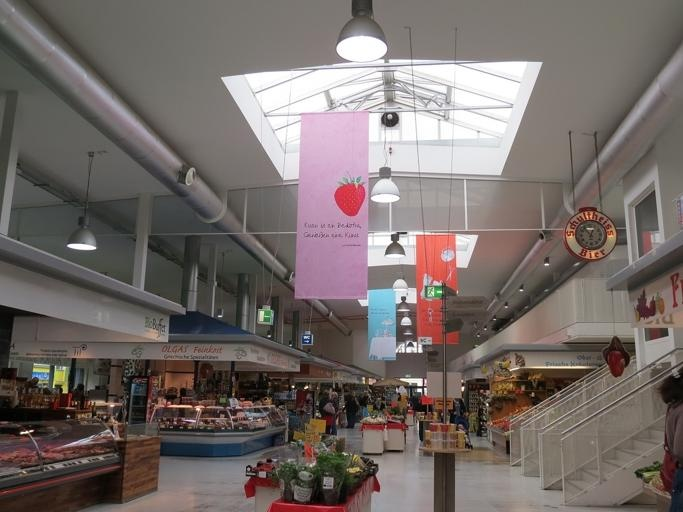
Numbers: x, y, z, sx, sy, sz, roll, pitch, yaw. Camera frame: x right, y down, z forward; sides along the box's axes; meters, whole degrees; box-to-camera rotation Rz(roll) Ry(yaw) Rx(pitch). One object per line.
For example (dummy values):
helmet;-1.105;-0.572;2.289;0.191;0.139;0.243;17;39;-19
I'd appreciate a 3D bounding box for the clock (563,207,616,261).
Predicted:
clock;4.387;-0.412;8.534;0.814;0.975;0.376;-6;-19;16
